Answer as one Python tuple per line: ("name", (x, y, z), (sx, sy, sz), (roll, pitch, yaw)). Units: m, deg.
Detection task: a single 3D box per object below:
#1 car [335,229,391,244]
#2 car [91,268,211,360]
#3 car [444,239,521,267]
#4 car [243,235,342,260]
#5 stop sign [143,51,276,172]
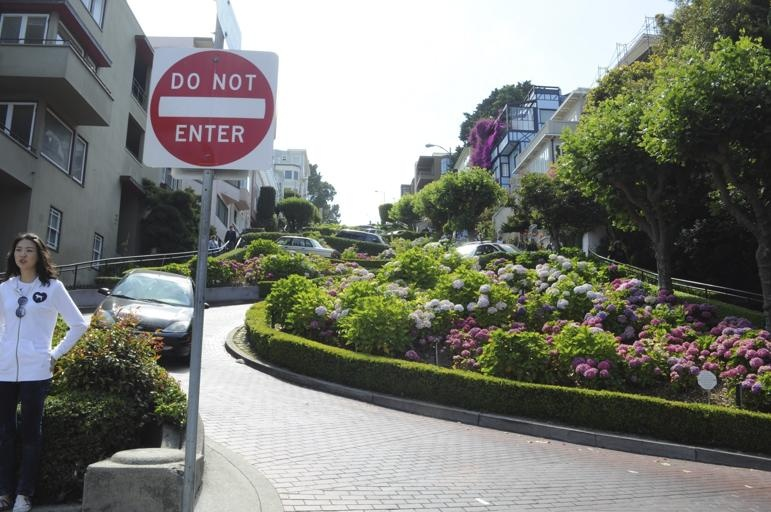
("car", (-1.860, -1.459, 52.094), (3.280, 1.266, 1.626), (1, 3, 19))
("car", (-5.316, 1.433, 15.239), (2.011, 1.619, 2.981), (2, 7, -23))
("car", (3.932, -0.301, 26.421), (2.645, 0.916, 1.213), (8, -8, -30))
("car", (-4.511, -0.508, 38.886), (3.141, 0.897, 2.134), (7, 7, 21))
("stop sign", (-1.911, -1.619, 7.396), (1.425, 1.373, 0.616), (4, 7, -7))
